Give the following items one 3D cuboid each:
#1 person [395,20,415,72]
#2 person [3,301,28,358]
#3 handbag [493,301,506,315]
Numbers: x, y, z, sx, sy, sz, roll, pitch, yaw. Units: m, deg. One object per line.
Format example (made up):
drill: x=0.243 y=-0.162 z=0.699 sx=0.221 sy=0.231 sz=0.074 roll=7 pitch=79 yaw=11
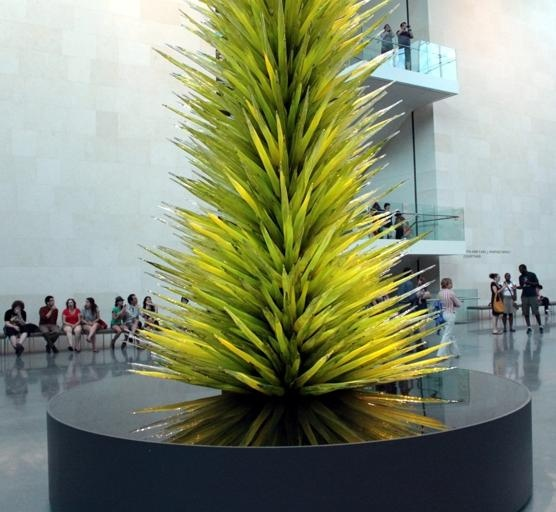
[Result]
person: x=3.107 y=-5.258 z=13.806 sx=0.349 sy=1.207 sz=0.997 roll=1 pitch=0 yaw=12
person: x=-4.715 y=1.290 z=10.113 sx=0.377 sy=0.756 sz=0.315 roll=0 pitch=0 yaw=-28
handbag: x=4.846 y=1.118 z=12.323 sx=0.293 sy=0.375 sz=0.169 roll=4 pitch=-11 yaw=-18
